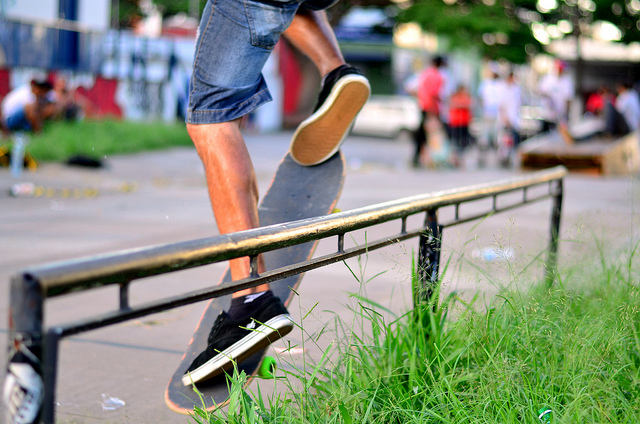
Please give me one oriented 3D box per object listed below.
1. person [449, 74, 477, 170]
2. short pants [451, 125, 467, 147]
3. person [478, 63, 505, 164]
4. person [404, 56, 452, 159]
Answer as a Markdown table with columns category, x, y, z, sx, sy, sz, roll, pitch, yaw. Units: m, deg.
| category | x | y | z | sx | sy | sz | roll | pitch | yaw |
| --- | --- | --- | --- | --- | --- | --- | --- | --- | --- |
| person | 2.491 | -1.675 | 15.898 | 0.433 | 0.255 | 1.715 | -3 | -25 | 4 |
| short pants | 2.467 | -1.332 | 15.707 | 0.142 | 0.618 | 0.084 | 0 | -24 | 24 |
| person | 3.092 | -1.728 | 16.177 | 0.436 | 1.676 | 0.615 | 5 | 12 | 11 |
| person | 1.797 | -1.835 | 14.255 | 0.245 | 2.051 | 0.479 | -8 | 22 | -36 |
